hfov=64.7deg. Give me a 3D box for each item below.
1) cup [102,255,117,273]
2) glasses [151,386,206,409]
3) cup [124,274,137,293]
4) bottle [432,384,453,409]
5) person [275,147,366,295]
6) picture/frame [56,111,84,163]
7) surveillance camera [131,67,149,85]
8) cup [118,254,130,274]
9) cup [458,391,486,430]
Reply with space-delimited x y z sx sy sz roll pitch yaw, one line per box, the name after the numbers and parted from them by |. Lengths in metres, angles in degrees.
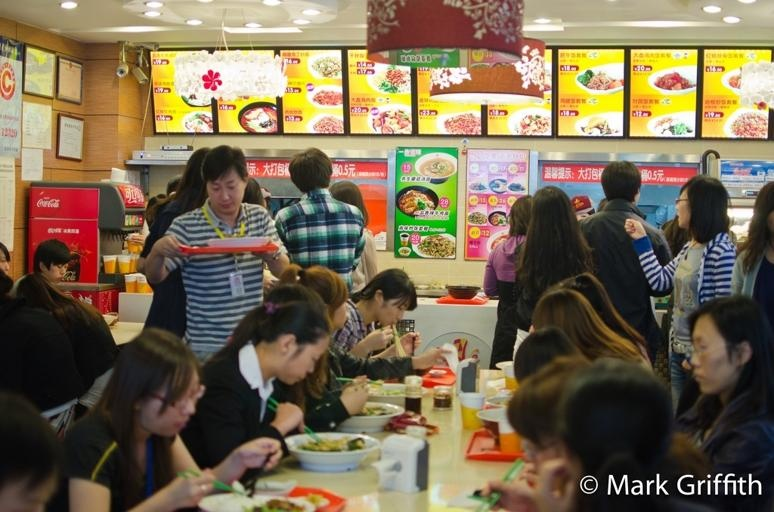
-2.626 0.072 5.746 0.153 0.139 0.148 -1 -5 0 | cup
-0.713 0.475 2.023 0.098 0.029 0.092 -6 7 19 | glasses
-2.423 0.247 5.801 0.159 0.149 0.151 0 0 0 | cup
0.278 0.698 3.082 0.107 0.090 0.089 0 0 -3 | bottle
-0.454 -0.034 4.347 0.597 1.446 0.489 -4 24 -8 | person
-3.490 -1.292 6.668 0.085 0.454 0.323 1 2 13 | picture/frame
-2.788 -2.022 6.834 0.110 0.177 0.183 -38 5 -16 | surveillance camera
-2.511 0.070 5.792 0.159 0.155 0.156 -1 -4 0 | cup
0.375 0.683 2.762 0.159 0.152 0.150 0 1 0 | cup
